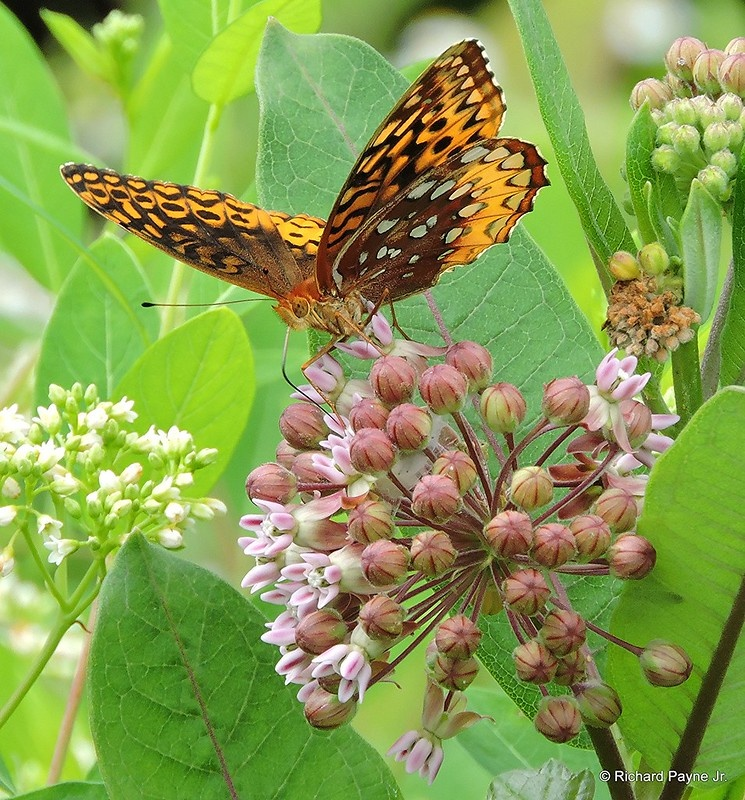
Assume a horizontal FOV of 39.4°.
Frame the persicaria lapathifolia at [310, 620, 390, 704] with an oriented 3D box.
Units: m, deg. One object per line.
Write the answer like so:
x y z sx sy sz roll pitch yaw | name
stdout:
-0.023 0.348 1.437 0.080 0.059 0.123 1 24 41 | persicaria lapathifolia

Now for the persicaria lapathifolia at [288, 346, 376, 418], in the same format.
-0.066 -0.018 1.696 0.100 0.116 0.051 -46 -45 4 | persicaria lapathifolia

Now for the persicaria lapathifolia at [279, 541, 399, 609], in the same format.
-0.062 0.256 1.433 0.078 0.039 0.111 6 9 -36 | persicaria lapathifolia

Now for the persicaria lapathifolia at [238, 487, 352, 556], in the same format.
-0.110 0.178 1.470 0.129 0.093 0.052 -11 -39 18 | persicaria lapathifolia
